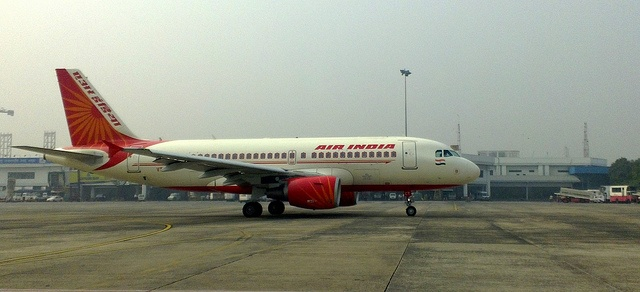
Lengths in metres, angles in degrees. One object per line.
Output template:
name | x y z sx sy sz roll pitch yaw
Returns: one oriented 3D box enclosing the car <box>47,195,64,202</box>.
car | -55.117 10.892 119.112 4.292 0.928 1.657 2 -1 -5
